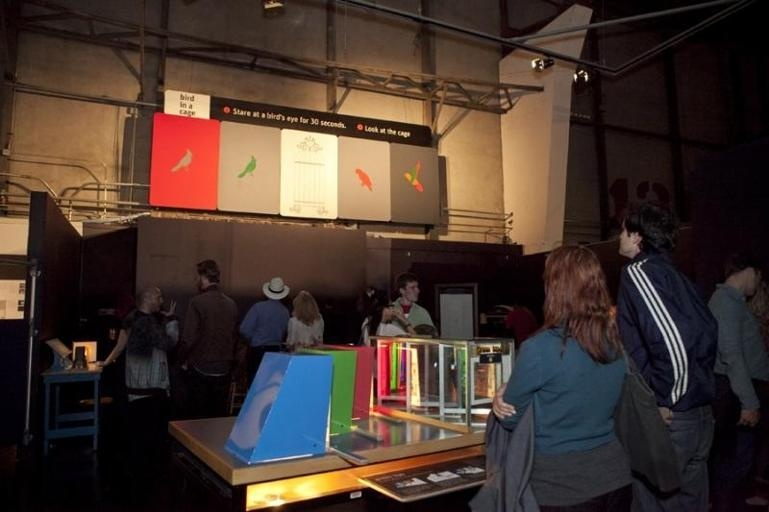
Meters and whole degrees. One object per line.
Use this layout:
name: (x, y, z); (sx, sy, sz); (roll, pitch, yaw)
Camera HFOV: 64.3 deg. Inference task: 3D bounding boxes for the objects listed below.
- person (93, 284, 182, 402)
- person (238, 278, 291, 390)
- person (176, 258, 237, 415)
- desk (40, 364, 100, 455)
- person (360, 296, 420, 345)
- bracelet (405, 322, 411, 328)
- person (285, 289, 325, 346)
person: (-2.900, 0.975, 7.374); (0.665, 1.160, 1.959); (0, -2, -24)
person: (-1.750, 1.124, 9.078); (0.668, 1.540, 1.363); (-1, -2, -7)
person: (-2.231, 1.096, 7.777); (0.734, 2.065, 1.187); (0, -2, -16)
desk: (-4.028, 1.985, 7.976); (0.686, 0.974, 1.445); (1, -11, -24)
person: (0.022, 0.730, 6.706); (0.677, 0.330, 0.876); (6, -14, -25)
bracelet: (0.253, 0.731, 6.470); (0.079, 0.039, 0.108); (2, -2, -8)
person: (-1.216, 0.946, 9.185); (0.425, 0.780, 0.874); (-1, -2, 6)
